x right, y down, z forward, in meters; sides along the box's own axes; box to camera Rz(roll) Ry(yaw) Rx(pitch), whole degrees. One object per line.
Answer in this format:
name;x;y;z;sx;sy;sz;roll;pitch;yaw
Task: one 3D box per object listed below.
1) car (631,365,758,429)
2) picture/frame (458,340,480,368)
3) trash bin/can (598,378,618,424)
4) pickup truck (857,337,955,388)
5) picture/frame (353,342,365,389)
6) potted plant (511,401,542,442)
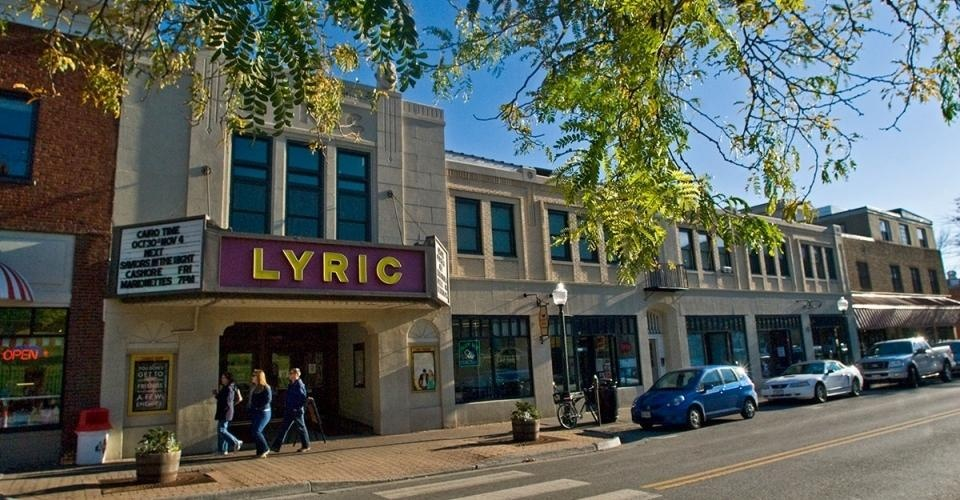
car;9.262;6.405;27.535;4.783;1.793;2.780;7;-18;-32
picture/frame;-0.551;4.754;28.696;1.424;1.347;0.102;3;-11;-27
trash bin/can;5.663;6.801;28.153;0.758;1.733;1.003;-12;-16;22
pickup truck;24.020;6.373;35.920;5.230;2.706;1.961;2;-17;-25
picture/frame;-5.412;5.201;28.442;0.083;1.751;1.678;2;-11;-28
potted plant;1.956;6.893;25.200;1.380;1.394;1.368;2;-17;-5
